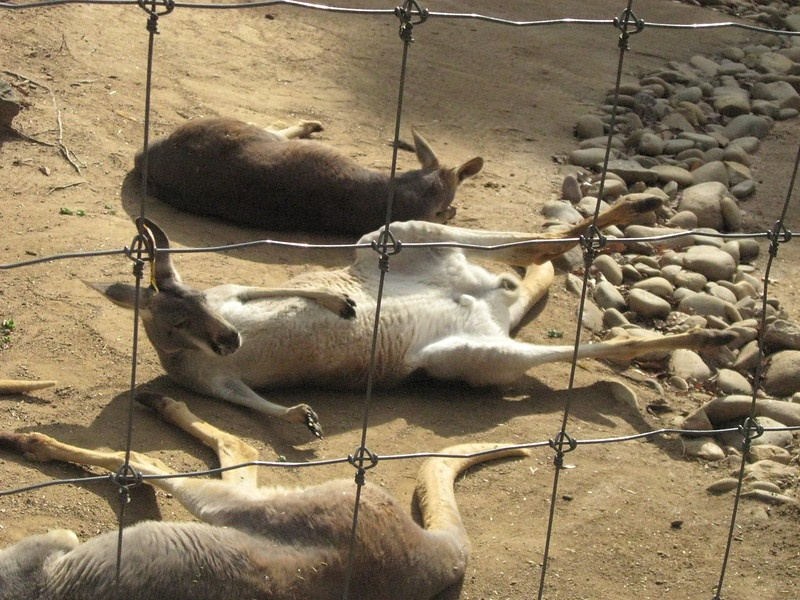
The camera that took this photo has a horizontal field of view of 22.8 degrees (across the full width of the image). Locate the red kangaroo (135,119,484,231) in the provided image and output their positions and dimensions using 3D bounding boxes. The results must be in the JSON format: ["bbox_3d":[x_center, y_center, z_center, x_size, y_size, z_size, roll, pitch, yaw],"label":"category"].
[{"bbox_3d":[-0.879,-1.060,17.411,2.090,0.583,1.349,-2,35,-15],"label":"red kangaroo"}]
